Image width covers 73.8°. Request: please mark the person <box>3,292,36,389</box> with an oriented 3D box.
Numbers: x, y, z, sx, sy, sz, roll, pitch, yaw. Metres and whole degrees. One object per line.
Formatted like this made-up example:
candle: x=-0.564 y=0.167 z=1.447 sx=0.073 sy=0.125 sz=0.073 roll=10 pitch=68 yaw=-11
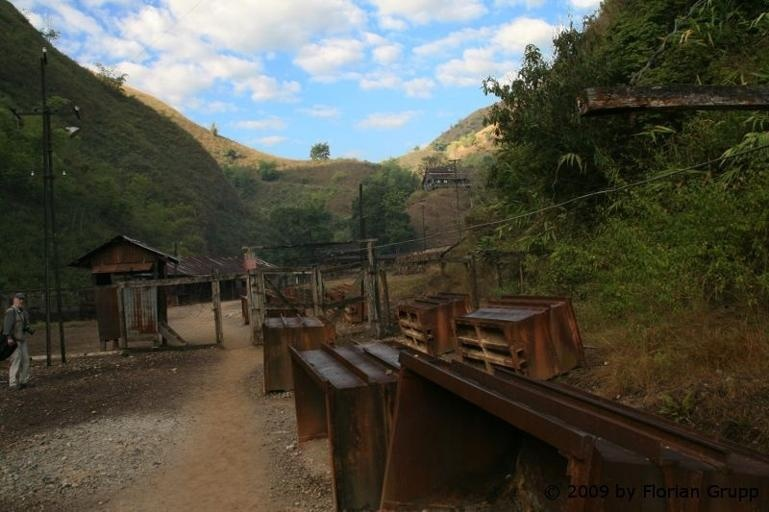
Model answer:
person: x=-11.204 y=2.566 z=15.701 sx=0.717 sy=2.880 sz=0.886 roll=-4 pitch=-4 yaw=-30
